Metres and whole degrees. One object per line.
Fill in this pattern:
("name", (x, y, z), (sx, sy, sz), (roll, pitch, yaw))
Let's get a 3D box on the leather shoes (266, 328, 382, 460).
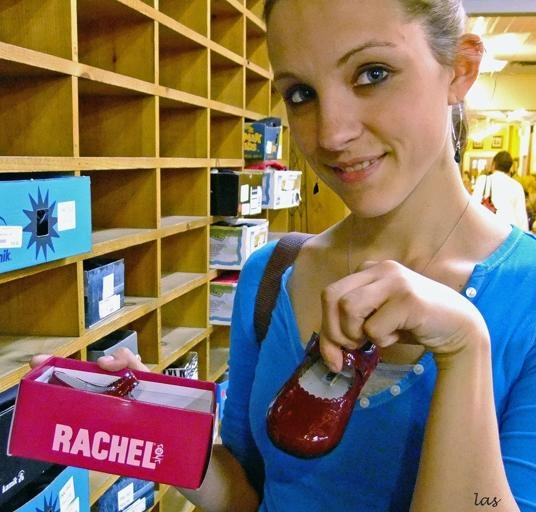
("leather shoes", (0.088, 0.194, 0.719), (0.124, 0.108, 0.280), (15, 25, 22))
